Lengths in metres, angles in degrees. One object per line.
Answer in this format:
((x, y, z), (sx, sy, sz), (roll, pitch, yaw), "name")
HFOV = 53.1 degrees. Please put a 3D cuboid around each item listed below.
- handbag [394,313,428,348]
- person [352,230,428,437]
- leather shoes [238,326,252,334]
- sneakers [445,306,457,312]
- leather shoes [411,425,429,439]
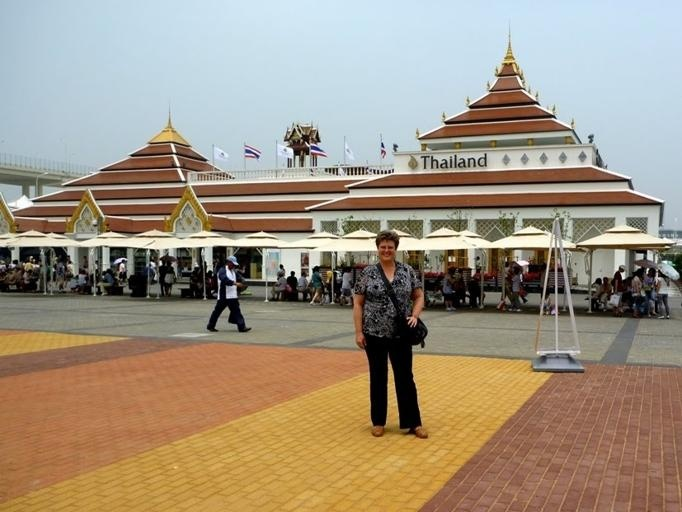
((0.924, 0.967, 8.834), (0.329, 0.453, 0.186), (-42, 0, 10), "handbag")
((0.631, 1.009, 8.840), (0.888, 2.390, 0.321), (-2, 1, 3), "person")
((-2.619, 2.037, 18.547), (0.342, 0.160, 0.133), (-8, -2, -7), "leather shoes")
((4.408, 2.154, 27.443), (0.150, 0.211, 0.486), (-7, -6, -33), "sneakers")
((1.016, 2.281, 8.783), (0.098, 0.114, 0.250), (2, -9, -34), "leather shoes")
